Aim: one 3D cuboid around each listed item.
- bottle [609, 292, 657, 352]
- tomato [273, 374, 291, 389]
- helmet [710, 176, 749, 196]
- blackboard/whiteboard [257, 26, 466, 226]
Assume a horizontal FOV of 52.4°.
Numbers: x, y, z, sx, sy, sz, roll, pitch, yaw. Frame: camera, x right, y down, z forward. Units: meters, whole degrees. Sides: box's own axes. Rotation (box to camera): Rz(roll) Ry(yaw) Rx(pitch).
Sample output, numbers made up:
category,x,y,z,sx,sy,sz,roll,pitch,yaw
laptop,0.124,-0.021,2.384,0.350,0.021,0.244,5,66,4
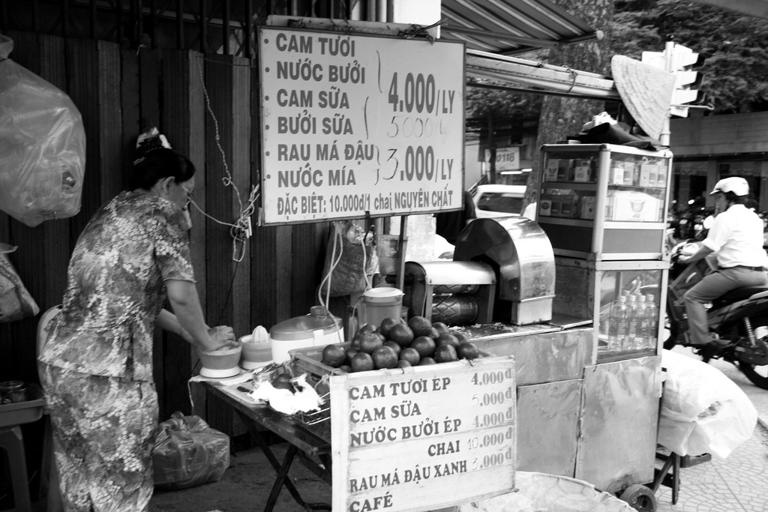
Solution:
category,x,y,z,sx,sy,sz,roll,pitch,yaw
bottle,1.841,0.504,5.834,0.417,0.636,0.186,1,-1,-24
tomato,-0.577,0.718,4.450,0.108,0.053,0.133,-1,8,-12
helmet,3.678,-0.734,8.326,0.350,0.181,0.239,4,3,35
blackboard/whiteboard,-0.108,-0.761,4.606,1.280,1.086,0.109,-3,8,-23
